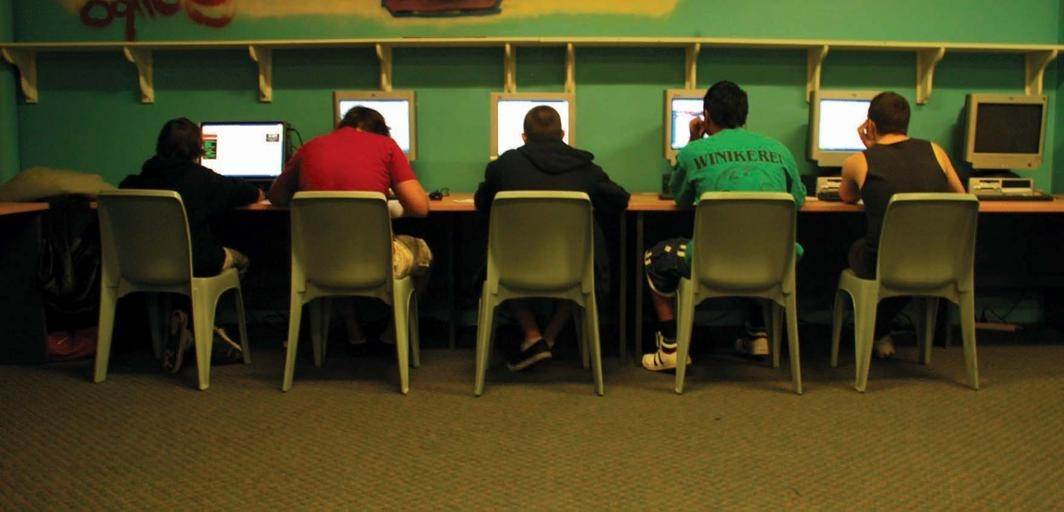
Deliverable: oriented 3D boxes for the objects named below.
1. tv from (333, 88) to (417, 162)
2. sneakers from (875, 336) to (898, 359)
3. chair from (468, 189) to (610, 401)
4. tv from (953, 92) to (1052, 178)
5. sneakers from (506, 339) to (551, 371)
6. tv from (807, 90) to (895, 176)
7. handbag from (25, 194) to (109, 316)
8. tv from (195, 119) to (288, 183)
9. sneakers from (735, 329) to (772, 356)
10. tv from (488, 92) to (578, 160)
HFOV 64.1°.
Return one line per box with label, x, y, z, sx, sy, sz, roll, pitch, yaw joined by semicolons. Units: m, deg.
tv;-1.304;-1.195;7.795;0.827;0.585;0.425;5;15;23
sneakers;2.980;0.775;7.135;0.161;0.134;0.210;-3;5;8
chair;0.059;0.282;6.599;1.035;1.579;0.438;-1;17;1
tv;4.180;-1.084;7.752;1.083;0.873;0.630;0;3;4
sneakers;-0.030;0.847;7.001;0.188;0.164;0.457;0;-22;-38
tv;2.968;-1.150;7.553;0.492;0.697;0.781;-5;11;-17
handbag;-3.622;-0.004;7.089;0.420;1.037;0.780;2;-7;-8
tv;-2.502;-0.964;7.780;0.922;0.520;0.469;3;6;21
sneakers;1.857;0.736;7.118;0.271;0.206;0.191;0;3;28
tv;0.199;-1.139;7.563;0.958;0.603;0.580;10;14;44
